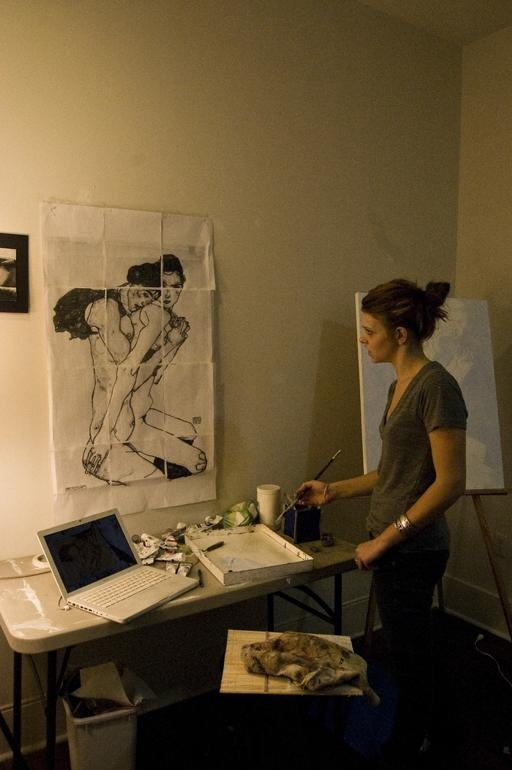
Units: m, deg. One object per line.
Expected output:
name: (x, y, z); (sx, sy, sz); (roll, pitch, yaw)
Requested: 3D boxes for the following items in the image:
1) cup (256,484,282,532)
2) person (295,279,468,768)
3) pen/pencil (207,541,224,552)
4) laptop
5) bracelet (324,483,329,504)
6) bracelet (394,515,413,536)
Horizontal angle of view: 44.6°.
cup: (0.049, 0.434, 2.250); (0.138, 0.198, 0.126); (0, 0, 0)
person: (0.404, 0.460, 1.719); (0.333, 1.486, 0.513); (-4, 9, 8)
pen/pencil: (-0.127, 0.512, 2.002); (0.015, 0.015, 0.104); (4, 4, 30)
laptop: (-0.371, 0.475, 1.710); (0.325, 0.181, 0.297); (2, 6, 35)
bracelet: (0.222, 0.340, 1.964); (0.015, 0.048, 0.036); (5, -6, 4)
bracelet: (0.359, 0.340, 1.514); (0.034, 0.045, 0.038); (28, 67, 29)
